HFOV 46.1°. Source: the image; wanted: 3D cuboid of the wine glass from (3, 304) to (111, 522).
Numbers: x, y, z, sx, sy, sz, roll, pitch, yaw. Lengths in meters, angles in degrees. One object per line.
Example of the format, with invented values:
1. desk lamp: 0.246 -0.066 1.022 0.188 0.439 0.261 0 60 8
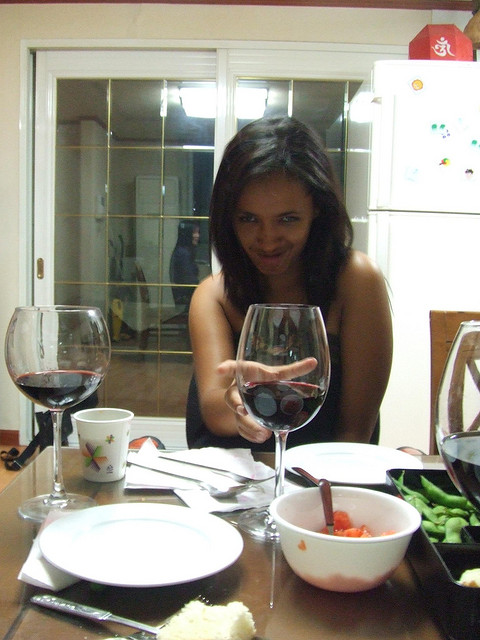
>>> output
1. wine glass: -0.210 0.104 0.643 0.116 0.246 0.260 2 11 -12

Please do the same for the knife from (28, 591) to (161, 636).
1. knife: -0.103 0.209 0.400 0.076 0.005 0.008 9 17 17

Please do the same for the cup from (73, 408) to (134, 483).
1. cup: -0.174 0.166 0.729 0.080 0.074 0.076 -1 -5 0

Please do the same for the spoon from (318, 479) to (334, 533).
1. spoon: 0.076 0.165 0.501 0.010 0.047 0.006 -2 -24 -5

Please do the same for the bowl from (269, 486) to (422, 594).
1. bowl: 0.081 0.182 0.470 0.123 0.053 0.114 1 3 0
